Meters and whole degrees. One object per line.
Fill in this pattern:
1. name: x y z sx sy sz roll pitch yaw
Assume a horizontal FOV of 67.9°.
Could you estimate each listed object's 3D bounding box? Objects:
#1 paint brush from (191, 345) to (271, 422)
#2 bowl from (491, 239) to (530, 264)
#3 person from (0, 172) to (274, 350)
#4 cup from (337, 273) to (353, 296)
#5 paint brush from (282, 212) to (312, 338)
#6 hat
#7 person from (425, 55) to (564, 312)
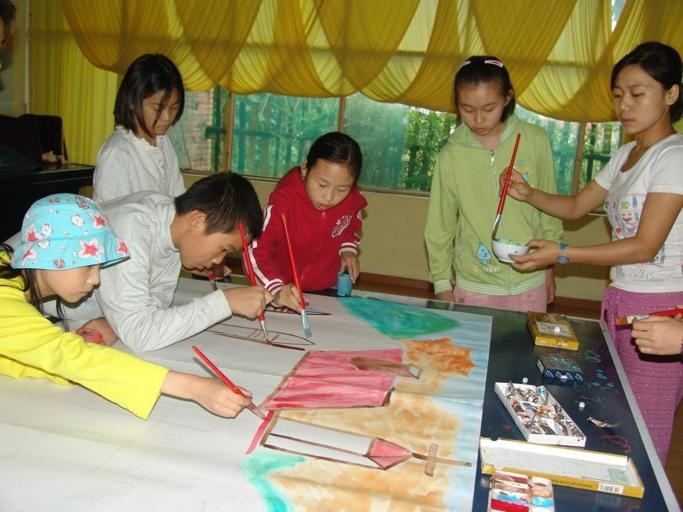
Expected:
1. paint brush: -0.322 0.377 1.473 0.233 0.017 0.025 49 47 9
2. bowl: 0.677 -0.003 2.045 0.100 0.069 0.100 6 -6 1
3. person: -0.584 0.023 1.739 0.780 0.346 0.622 2 31 1
4. cup: 0.014 0.129 2.236 0.079 0.091 0.077 0 13 0
5. paint brush: -0.185 0.073 2.104 0.048 0.494 0.028 -11 -4 -45
6. hat: -0.785 -0.061 1.490 0.257 0.157 0.226 -4 13 5
7. person: 0.690 -0.326 2.308 0.583 1.160 0.381 -3 32 14
